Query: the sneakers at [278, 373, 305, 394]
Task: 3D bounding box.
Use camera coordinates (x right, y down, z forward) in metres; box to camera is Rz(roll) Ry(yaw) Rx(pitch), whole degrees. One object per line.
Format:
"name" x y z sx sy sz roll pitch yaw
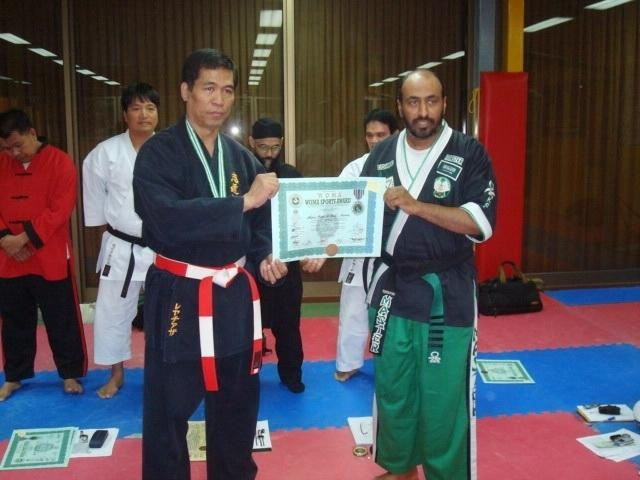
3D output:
"sneakers" -0.206 1.102 4.312 0.079 0.092 0.219 -4 2 -33

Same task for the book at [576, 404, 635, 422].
"book" 1.993 1.182 3.915 0.384 0.077 0.213 1 13 1

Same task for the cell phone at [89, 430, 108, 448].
"cell phone" -1.436 1.286 3.666 0.088 0.056 0.154 1 13 2

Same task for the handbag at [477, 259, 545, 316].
"handbag" 1.989 0.513 5.926 0.522 0.454 0.267 -1 -2 -14

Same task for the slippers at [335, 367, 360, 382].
"slippers" 0.218 1.046 4.473 0.153 0.110 0.084 -1 15 -31
